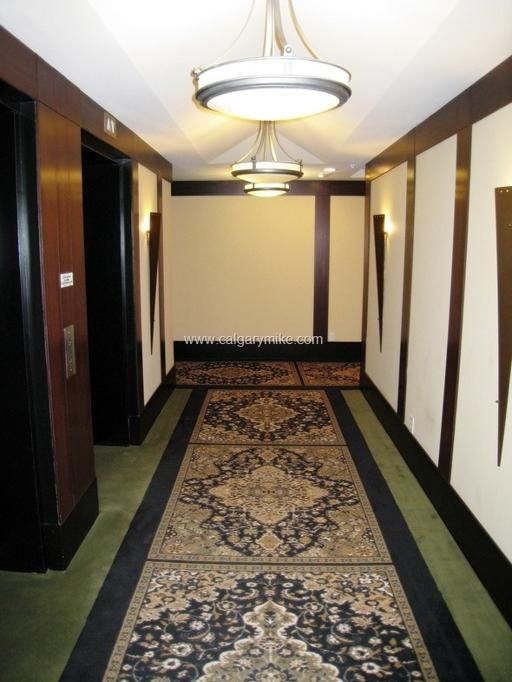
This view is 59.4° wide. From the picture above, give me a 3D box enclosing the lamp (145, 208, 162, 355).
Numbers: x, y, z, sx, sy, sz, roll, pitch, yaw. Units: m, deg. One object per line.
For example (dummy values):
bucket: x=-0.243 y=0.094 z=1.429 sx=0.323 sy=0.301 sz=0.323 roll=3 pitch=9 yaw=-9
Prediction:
lamp: x=-1.284 y=-0.738 z=5.662 sx=0.128 sy=1.730 sz=0.613 roll=-1 pitch=5 yaw=-11
